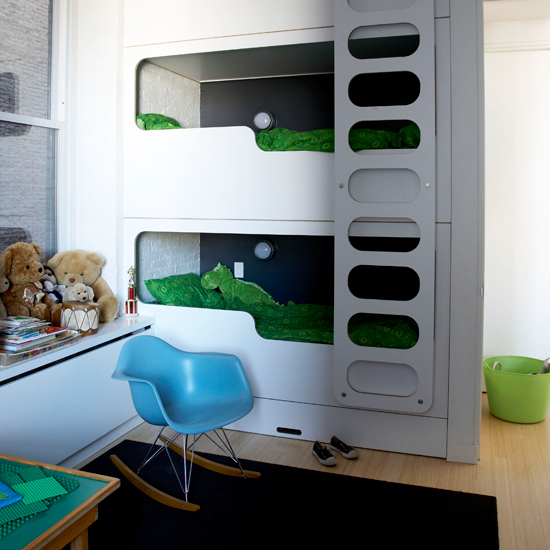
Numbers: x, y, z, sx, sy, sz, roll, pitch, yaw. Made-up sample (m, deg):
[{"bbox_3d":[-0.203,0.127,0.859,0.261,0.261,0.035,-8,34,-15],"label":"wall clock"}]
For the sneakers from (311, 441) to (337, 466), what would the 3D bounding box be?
[{"bbox_3d":[0.245,0.893,2.384,0.049,0.047,0.126,-1,3,-24],"label":"sneakers"}]

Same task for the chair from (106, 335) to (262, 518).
[{"bbox_3d":[-0.412,0.629,2.137,0.675,0.619,0.611,1,3,18],"label":"chair"}]

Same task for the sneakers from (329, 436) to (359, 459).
[{"bbox_3d":[0.340,0.872,2.441,0.056,0.053,0.143,-2,6,-32],"label":"sneakers"}]

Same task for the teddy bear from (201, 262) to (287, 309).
[{"bbox_3d":[-0.184,0.067,2.815,0.470,0.189,0.141,15,8,2],"label":"teddy bear"}]
